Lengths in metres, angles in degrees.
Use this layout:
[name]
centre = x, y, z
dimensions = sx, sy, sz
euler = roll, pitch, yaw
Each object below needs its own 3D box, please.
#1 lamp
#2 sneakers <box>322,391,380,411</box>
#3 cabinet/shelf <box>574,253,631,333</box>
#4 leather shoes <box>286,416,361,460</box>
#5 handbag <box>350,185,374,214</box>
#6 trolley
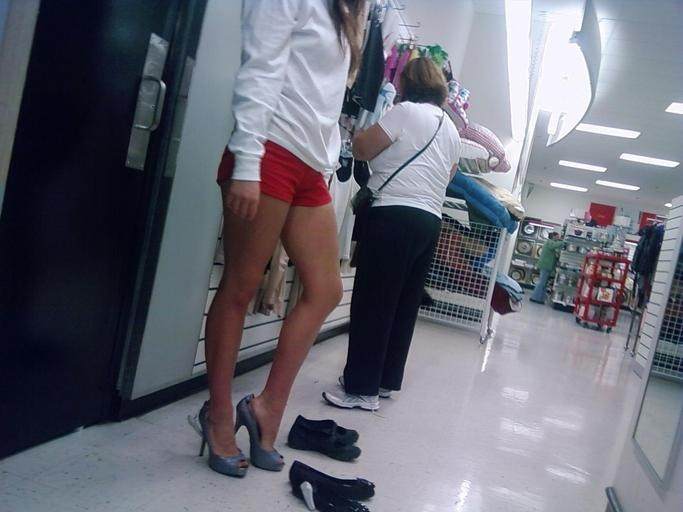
[lamp]
centre = 3.009, -2.375, 5.621
dimensions = 0.256, 1.377, 0.192
euler = 2, 30, -4
[sneakers]
centre = 0.048, 0.744, 2.292
dimensions = 0.293, 0.142, 0.113
euler = 7, -5, -2
[cabinet/shelf]
centre = 4.557, 0.644, 7.714
dimensions = 0.590, 1.225, 0.690
euler = 9, 7, 9
[leather shoes]
centre = -0.070, 0.734, 1.735
dimensions = 0.255, 0.111, 0.152
euler = 10, 13, 2
[handbag]
centre = 0.098, -0.280, 2.241
dimensions = 0.051, 0.142, 0.113
euler = 20, 40, -24
[trolley]
centre = 4.574, 0.666, 7.683
dimensions = 0.772, 1.179, 0.782
euler = 14, 4, 42
